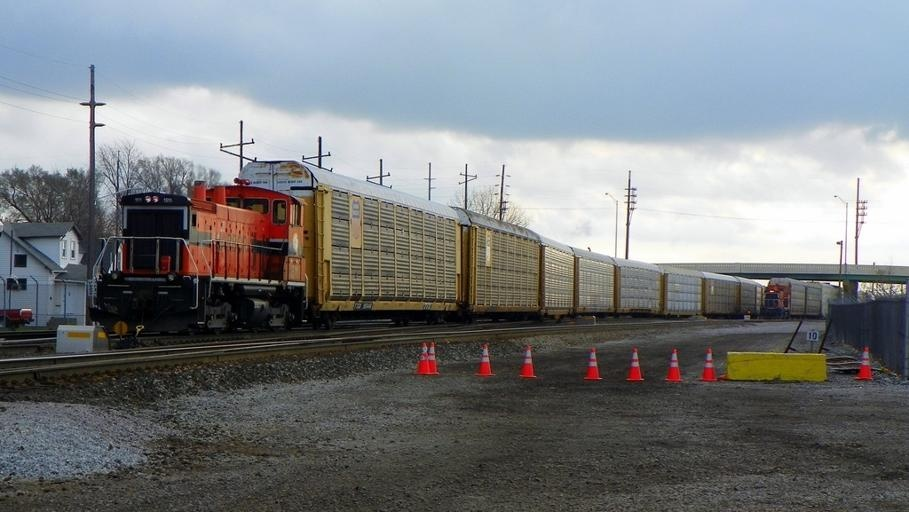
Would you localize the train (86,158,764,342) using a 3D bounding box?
[{"bbox_3d":[-4.090,0.359,37.498,15.311,12.590,26.885,2,-2,-43],"label":"train"}]
